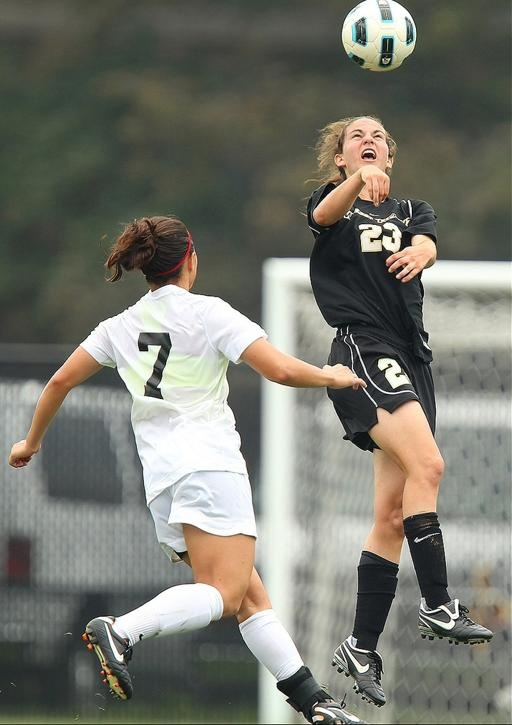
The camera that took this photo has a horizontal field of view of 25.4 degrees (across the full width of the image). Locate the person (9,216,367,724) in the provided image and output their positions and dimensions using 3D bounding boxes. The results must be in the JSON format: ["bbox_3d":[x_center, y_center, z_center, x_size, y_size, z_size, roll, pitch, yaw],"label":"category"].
[{"bbox_3d":[-0.383,0.273,3.867,1.074,1.200,1.022,-30,45,-34],"label":"person"}]

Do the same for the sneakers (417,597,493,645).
[{"bbox_3d":[0.681,0.921,4.022,0.341,0.162,0.123,0,-2,37],"label":"sneakers"}]
